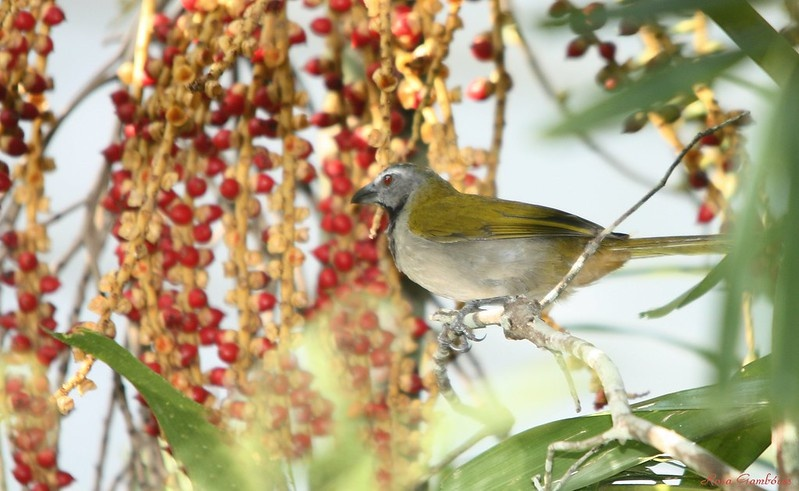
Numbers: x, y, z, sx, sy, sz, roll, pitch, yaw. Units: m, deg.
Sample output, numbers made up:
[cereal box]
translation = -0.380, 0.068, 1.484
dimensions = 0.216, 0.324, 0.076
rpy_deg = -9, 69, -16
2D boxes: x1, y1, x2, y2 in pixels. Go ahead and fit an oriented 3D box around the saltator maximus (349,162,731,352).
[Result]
[saltator maximus]
translation = 0.440, 0.017, 2.927
dimensions = 1.183, 0.347, 0.542
rpy_deg = 1, 85, 12
